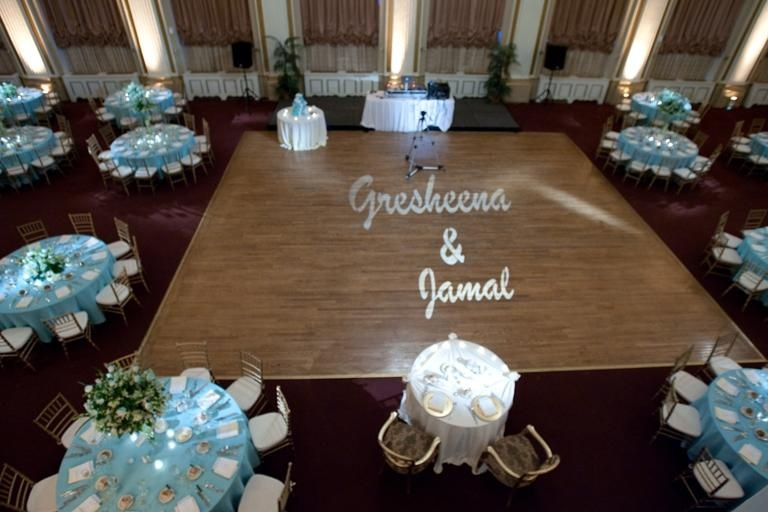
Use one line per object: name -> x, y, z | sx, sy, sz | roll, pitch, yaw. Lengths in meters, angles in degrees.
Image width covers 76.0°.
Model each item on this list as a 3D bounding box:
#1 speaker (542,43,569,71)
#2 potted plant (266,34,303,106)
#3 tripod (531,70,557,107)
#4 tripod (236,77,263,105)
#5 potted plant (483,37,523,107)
speaker -> 5.519, -6.372, 15.912 | 0.649, 0.908, 0.856 | 8, 34, 13
potted plant -> -3.079, -6.051, 15.742 | 1.034, 1.852, 0.775 | -8, 34, -11
tripod -> 5.453, -5.692, 16.566 | 0.648, 0.987, 0.497 | -3, 33, -4
tripod -> -4.355, -5.487, 16.089 | 0.634, 0.781, 0.708 | -17, 37, -24
potted plant -> 3.809, -5.988, 16.018 | 0.947, 1.846, 0.683 | 6, 33, 9
